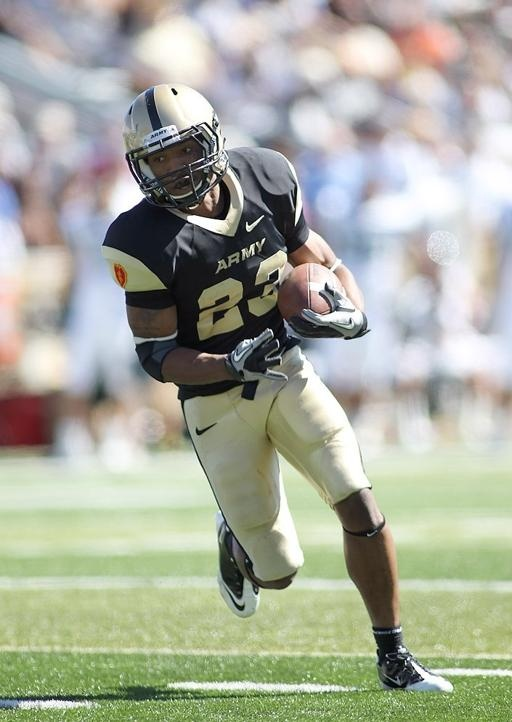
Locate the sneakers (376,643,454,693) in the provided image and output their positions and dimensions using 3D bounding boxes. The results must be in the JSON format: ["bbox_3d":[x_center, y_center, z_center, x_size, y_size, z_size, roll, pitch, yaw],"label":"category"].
[{"bbox_3d":[0.364,0.710,1.912,0.094,0.094,0.246,-2,-16,-24],"label":"sneakers"}]

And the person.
[{"bbox_3d":[0.001,0.019,2.146,0.619,1.241,0.669,-10,4,2],"label":"person"}]

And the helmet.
[{"bbox_3d":[-0.198,-0.567,2.154,0.267,0.261,0.323,-12,28,14],"label":"helmet"}]

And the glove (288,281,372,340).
[{"bbox_3d":[0.202,-0.124,2.090,0.189,0.117,0.087,10,-33,-39],"label":"glove"}]

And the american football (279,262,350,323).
[{"bbox_3d":[0.139,-0.155,2.184,0.153,0.103,0.167,23,30,-24],"label":"american football"}]

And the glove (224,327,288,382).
[{"bbox_3d":[-0.004,-0.008,1.923,0.097,0.097,0.147,-11,4,-30],"label":"glove"}]

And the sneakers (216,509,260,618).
[{"bbox_3d":[-0.063,0.598,2.454,0.122,0.294,0.153,-12,0,-3],"label":"sneakers"}]
